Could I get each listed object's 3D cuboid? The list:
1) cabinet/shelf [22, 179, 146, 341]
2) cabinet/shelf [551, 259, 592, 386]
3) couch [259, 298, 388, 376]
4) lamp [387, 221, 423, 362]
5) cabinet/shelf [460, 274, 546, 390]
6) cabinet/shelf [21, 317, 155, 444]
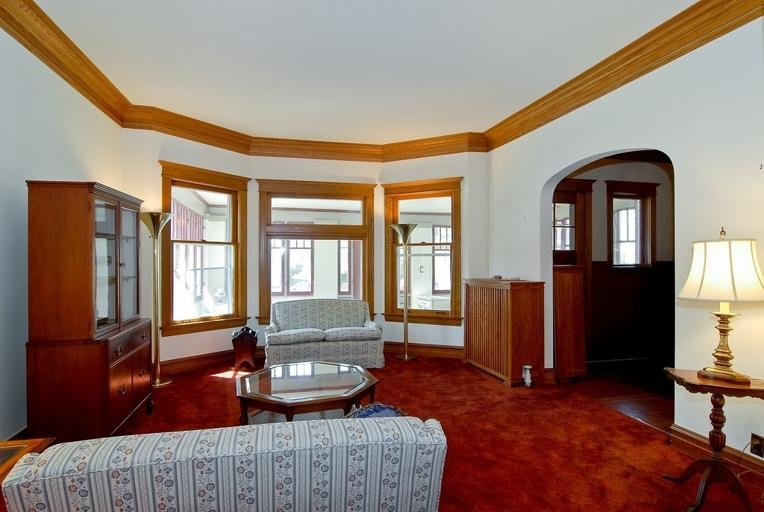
[{"bbox_3d":[-2.737,0.056,4.557,0.642,1.590,1.649,0,-1,-13],"label":"cabinet/shelf"},{"bbox_3d":[2.344,0.837,6.330,0.504,1.410,0.384,-1,11,-8],"label":"cabinet/shelf"},{"bbox_3d":[-0.771,0.824,6.892,1.528,0.935,0.922,0,-10,-6],"label":"couch"},{"bbox_3d":[0.336,0.515,7.280,0.428,1.929,0.411,0,1,9],"label":"lamp"},{"bbox_3d":[1.536,0.959,6.273,0.545,1.240,1.310,-1,2,-10],"label":"cabinet/shelf"},{"bbox_3d":[-2.642,1.092,4.441,0.480,1.020,1.182,-1,1,-9],"label":"cabinet/shelf"}]
